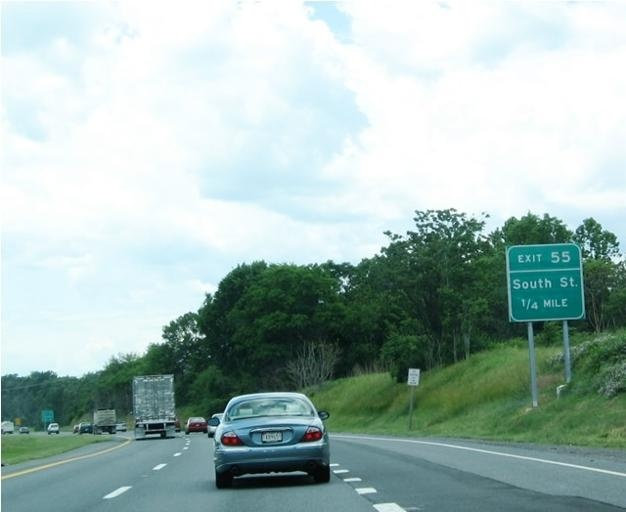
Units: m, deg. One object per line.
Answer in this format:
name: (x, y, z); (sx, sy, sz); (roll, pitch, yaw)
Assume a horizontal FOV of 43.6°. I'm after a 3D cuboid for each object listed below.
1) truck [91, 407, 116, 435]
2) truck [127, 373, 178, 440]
truck: (-24.050, 19.153, 89.740); (2.396, 3.081, 2.715); (1, -14, 0)
truck: (-11.024, 10.620, 55.509); (2.256, 3.289, 4.488); (0, -7, -4)
